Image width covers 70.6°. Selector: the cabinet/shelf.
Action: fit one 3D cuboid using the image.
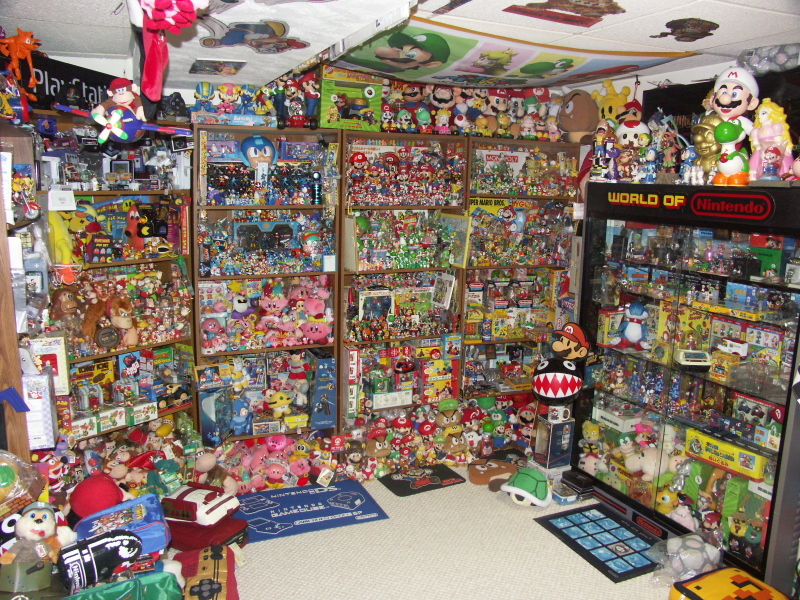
[{"bbox_3d":[-0.039,0.455,4.404,3.752,2.248,1.954,-1,5,-10],"label":"cabinet/shelf"}]
